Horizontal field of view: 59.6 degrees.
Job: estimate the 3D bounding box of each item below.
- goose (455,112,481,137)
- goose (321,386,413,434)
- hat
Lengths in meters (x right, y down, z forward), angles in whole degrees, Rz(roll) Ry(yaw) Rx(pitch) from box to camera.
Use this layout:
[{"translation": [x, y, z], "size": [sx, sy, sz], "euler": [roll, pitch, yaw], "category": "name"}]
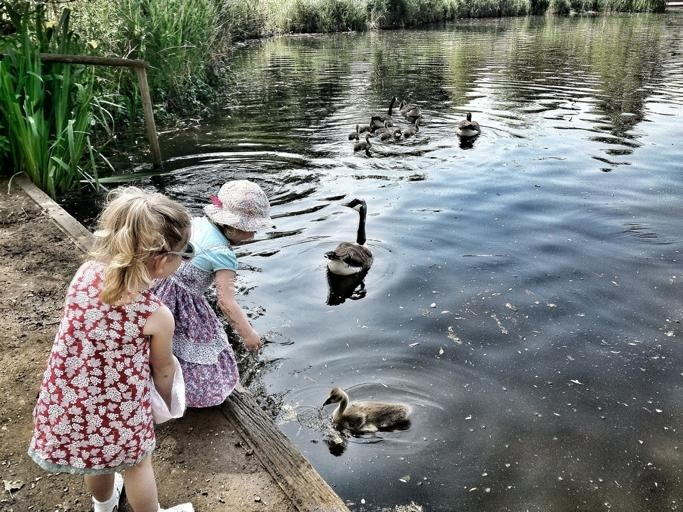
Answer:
[{"translation": [3.316, -3.417, 15.739], "size": [0.574, 0.616, 0.921], "euler": [7, 29, 17], "category": "goose"}, {"translation": [0.291, 1.652, 6.426], "size": [0.807, 0.392, 0.462], "euler": [-4, -8, 1], "category": "goose"}, {"translation": [-0.933, -0.455, 5.443], "size": [0.535, 0.269, 0.523], "euler": [24, 17, -4], "category": "hat"}]
